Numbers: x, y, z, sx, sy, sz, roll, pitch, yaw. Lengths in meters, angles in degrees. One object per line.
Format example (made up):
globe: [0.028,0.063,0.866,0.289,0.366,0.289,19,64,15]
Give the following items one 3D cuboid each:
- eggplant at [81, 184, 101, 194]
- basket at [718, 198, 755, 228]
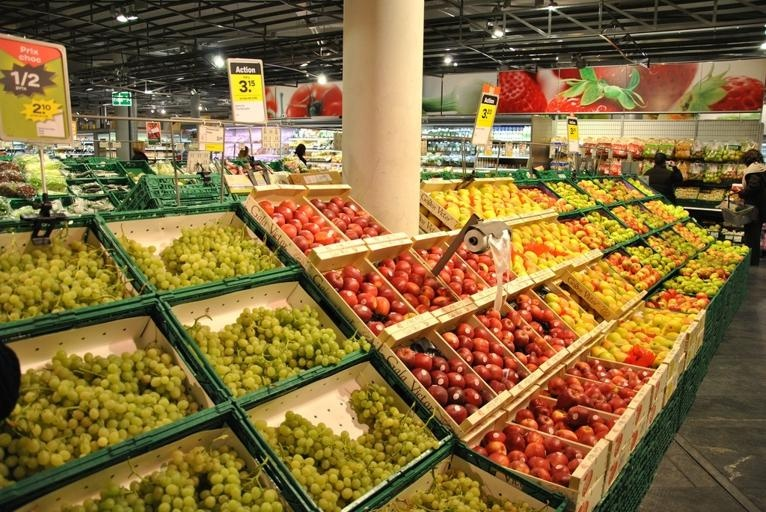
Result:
eggplant: [-3.681,-0.868,6.167,0.150,0.048,0.145,15,23,20]
basket: [6.780,-0.820,9.220,0.719,0.466,0.580,-3,6,-35]
